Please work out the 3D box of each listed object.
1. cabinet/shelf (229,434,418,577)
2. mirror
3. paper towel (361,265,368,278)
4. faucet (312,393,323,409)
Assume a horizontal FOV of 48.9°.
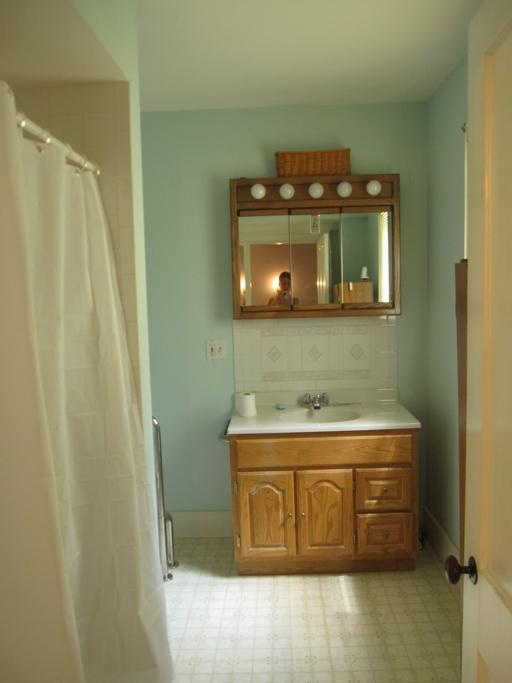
[{"bbox_3d":[0.331,0.740,2.636,0.655,0.505,0.257,-1,-3,5],"label":"cabinet/shelf"},{"bbox_3d":[0.309,-0.494,2.872,0.723,0.633,0.062,0,4,-2],"label":"mirror"},{"bbox_3d":[0.554,-0.350,2.857,0.046,0.069,0.047,3,14,18],"label":"paper towel"},{"bbox_3d":[0.328,0.321,3.008,0.071,0.084,0.158,-1,-1,6],"label":"faucet"}]
